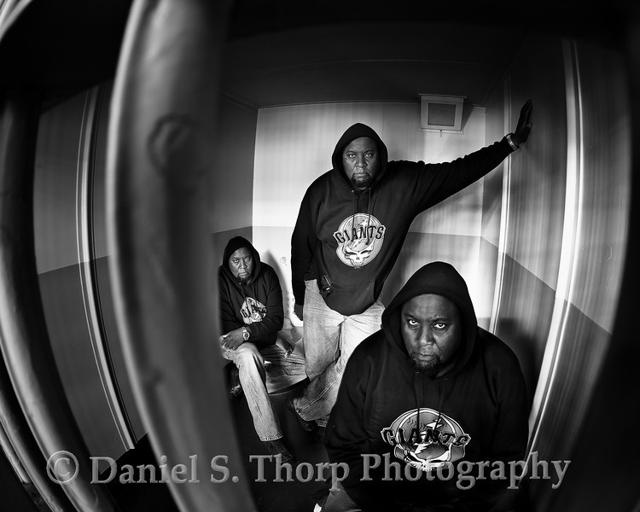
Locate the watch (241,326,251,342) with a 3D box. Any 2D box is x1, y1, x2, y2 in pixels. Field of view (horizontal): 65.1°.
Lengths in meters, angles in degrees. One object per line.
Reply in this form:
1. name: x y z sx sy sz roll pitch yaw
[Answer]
1. watch: -0.119 0.127 0.814 0.015 0.020 0.009 2 0 -14
